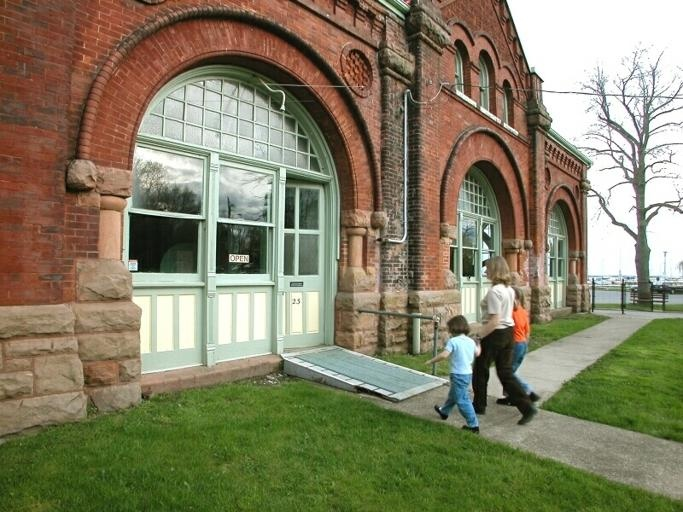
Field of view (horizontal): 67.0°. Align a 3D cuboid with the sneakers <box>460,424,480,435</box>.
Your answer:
[{"bbox_3d":[1.580,2.111,6.319,0.086,0.103,0.222,4,0,-39],"label":"sneakers"}]

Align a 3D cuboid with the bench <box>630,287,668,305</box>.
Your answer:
[{"bbox_3d":[15.207,1.978,25.447,0.980,0.461,0.980,-4,4,-42],"label":"bench"}]

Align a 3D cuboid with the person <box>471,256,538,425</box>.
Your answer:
[{"bbox_3d":[2.136,1.087,6.709,0.751,2.100,0.556,5,8,19],"label":"person"}]

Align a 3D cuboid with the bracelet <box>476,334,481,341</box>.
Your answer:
[{"bbox_3d":[1.773,1.064,6.684,0.058,0.062,0.014,12,-40,-11],"label":"bracelet"}]

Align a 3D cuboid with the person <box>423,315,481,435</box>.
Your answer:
[{"bbox_3d":[1.461,1.442,6.442,0.685,1.397,0.633,2,8,-8],"label":"person"}]

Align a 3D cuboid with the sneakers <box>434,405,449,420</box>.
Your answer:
[{"bbox_3d":[1.285,2.028,6.637,0.082,0.105,0.232,2,4,-23],"label":"sneakers"}]
